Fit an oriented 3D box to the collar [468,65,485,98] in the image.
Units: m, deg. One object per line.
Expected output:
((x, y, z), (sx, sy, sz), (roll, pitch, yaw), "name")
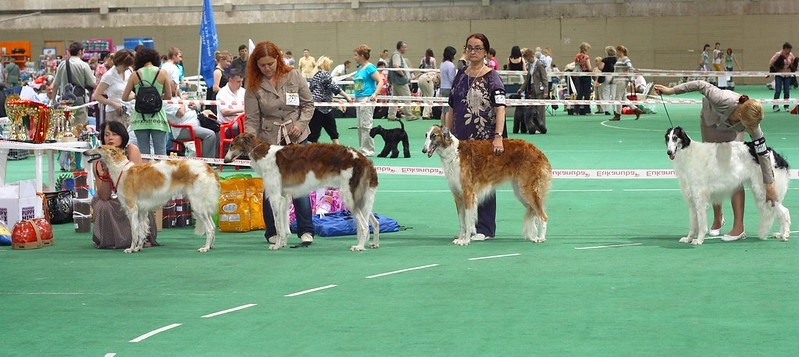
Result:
((1.543, -1.997, 13.351), (0.464, 0.489, 0.138), (-2, -5, 6), "collar")

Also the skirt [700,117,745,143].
((6.374, -1.018, 12.945), (0.510, 0.121, 0.509), (23, 1, -34), "skirt")

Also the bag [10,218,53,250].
((-7.476, 1.134, 13.452), (0.612, 0.467, 0.724), (2, 7, 10), "bag")

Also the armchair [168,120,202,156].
((-5.924, -1.136, 18.522), (0.994, 1.079, 1.014), (-11, 14, -37), "armchair")
